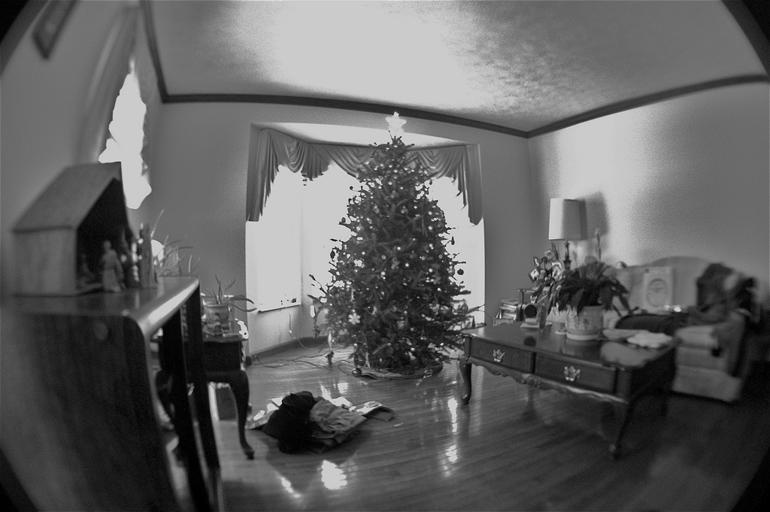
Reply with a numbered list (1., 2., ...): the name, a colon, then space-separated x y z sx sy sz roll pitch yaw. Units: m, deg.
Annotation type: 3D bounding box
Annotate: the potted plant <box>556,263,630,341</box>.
1. potted plant: 0.700 0.148 1.864 0.246 0.267 0.276 5 8 33
